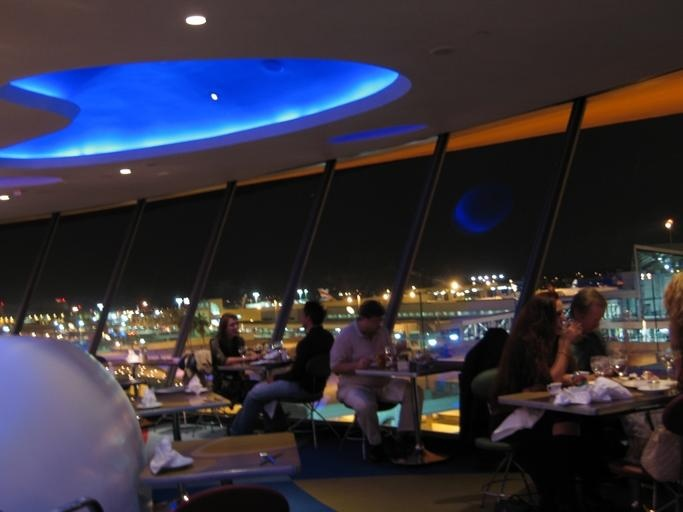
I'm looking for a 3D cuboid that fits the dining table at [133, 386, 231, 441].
[{"bbox_3d":[-1.184,1.266,3.758,0.621,0.399,0.609,4,-4,-43],"label":"dining table"}]

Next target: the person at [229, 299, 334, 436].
[{"bbox_3d":[-0.615,1.263,5.717,1.070,1.435,0.421,-4,-4,10],"label":"person"}]

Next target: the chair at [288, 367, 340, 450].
[{"bbox_3d":[-0.399,1.919,6.353,0.715,1.106,0.761,1,-6,1],"label":"chair"}]

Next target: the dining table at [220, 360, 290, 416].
[{"bbox_3d":[-1.211,1.548,6.244,0.686,0.455,0.713,1,3,29],"label":"dining table"}]

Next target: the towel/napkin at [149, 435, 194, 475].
[{"bbox_3d":[-0.767,0.898,2.243,0.074,0.152,0.199,-22,-24,37],"label":"towel/napkin"}]

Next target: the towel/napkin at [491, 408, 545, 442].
[{"bbox_3d":[1.323,1.181,3.647,0.282,0.102,0.329,-22,-2,33],"label":"towel/napkin"}]

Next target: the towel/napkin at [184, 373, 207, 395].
[{"bbox_3d":[-1.192,1.066,4.131,0.075,0.229,0.251,-26,2,-35],"label":"towel/napkin"}]

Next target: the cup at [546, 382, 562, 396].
[{"bbox_3d":[1.439,0.900,3.363,0.095,0.078,0.077,-13,-8,28],"label":"cup"}]

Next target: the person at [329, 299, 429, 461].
[{"bbox_3d":[0.358,1.292,5.277,0.887,1.535,0.896,-5,0,35],"label":"person"}]

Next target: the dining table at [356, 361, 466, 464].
[{"bbox_3d":[0.761,1.626,5.007,1.165,0.903,1.203,-1,-12,-7],"label":"dining table"}]

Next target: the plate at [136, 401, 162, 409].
[{"bbox_3d":[-1.421,1.103,3.678,0.181,0.034,0.148,-2,-5,-14],"label":"plate"}]

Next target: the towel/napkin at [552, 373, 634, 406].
[{"bbox_3d":[1.551,0.847,3.146,0.526,0.138,0.219,-2,-5,-19],"label":"towel/napkin"}]

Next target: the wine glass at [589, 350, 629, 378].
[{"bbox_3d":[1.875,0.762,3.505,0.170,0.181,0.183,-1,-2,-5],"label":"wine glass"}]
